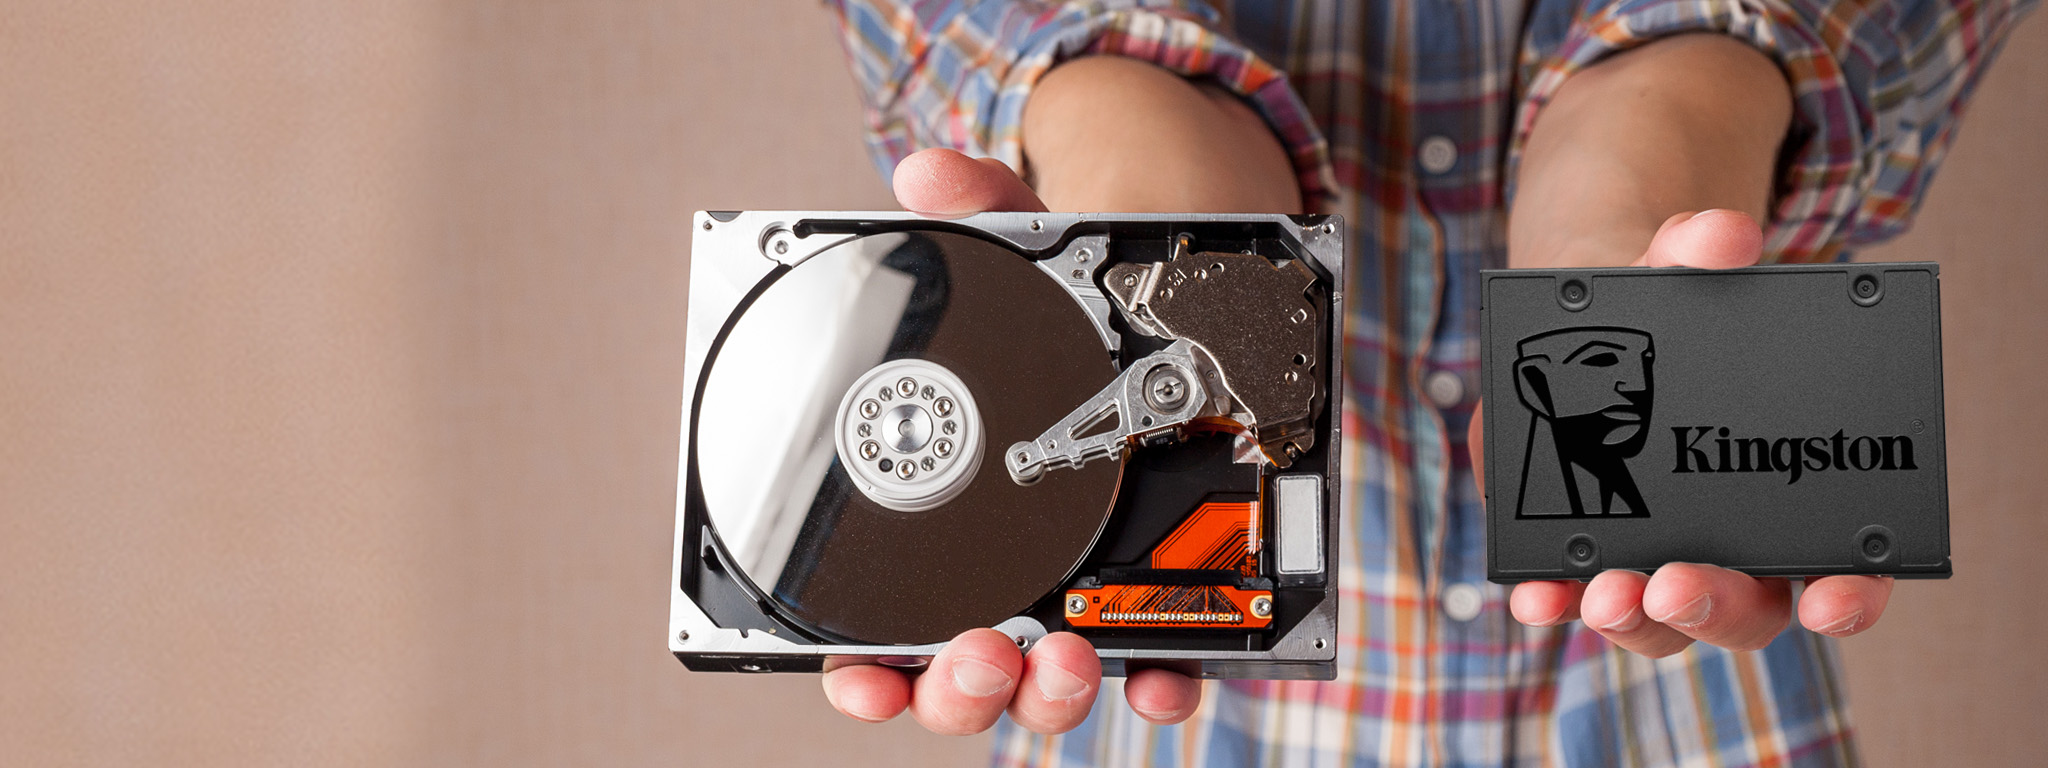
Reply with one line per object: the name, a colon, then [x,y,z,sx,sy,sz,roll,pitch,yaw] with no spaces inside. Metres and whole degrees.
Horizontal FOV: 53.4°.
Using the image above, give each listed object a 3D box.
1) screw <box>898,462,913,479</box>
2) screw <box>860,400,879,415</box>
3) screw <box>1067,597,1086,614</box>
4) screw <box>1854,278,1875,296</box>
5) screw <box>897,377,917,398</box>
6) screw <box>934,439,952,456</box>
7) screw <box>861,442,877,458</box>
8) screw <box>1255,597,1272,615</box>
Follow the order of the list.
screw: [-0.385,0.291,6.742,0.056,0.054,0.017,5,-15,-5]
screw: [-0.504,0.082,6.757,0.062,0.045,0.012,-5,-12,-1]
screw: [0.178,0.744,6.733,0.076,0.051,0.017,0,-5,0]
screw: [2.754,-0.320,6.706,0.071,0.056,0.015,-21,1,5]
screw: [-0.382,0.017,6.760,0.093,0.067,0.018,-2,2,-1]
screw: [-0.261,0.217,6.745,0.066,0.055,0.016,6,-15,-9]
screw: [-0.508,0.223,6.748,0.064,0.047,0.013,-2,-7,1]
screw: [0.783,0.743,6.717,0.064,0.067,0.016,2,-16,9]
